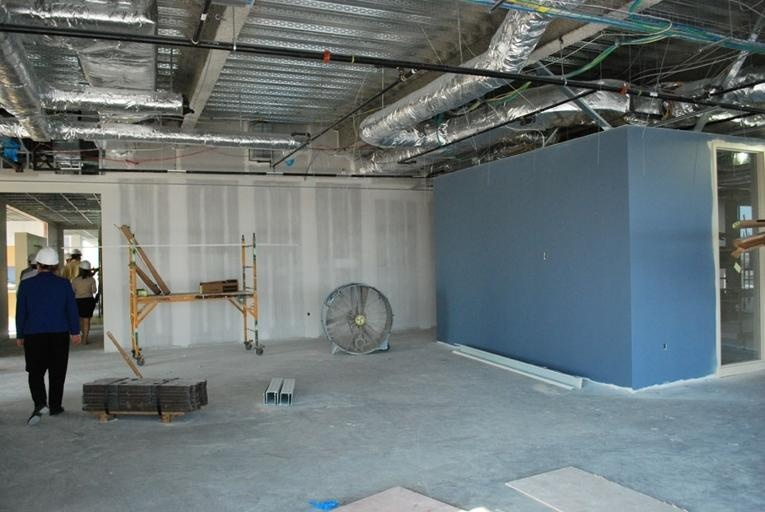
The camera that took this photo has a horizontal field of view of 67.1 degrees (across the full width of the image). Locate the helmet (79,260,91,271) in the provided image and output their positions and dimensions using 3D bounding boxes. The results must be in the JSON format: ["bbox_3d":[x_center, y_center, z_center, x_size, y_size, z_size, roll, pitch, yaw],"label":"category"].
[{"bbox_3d":[-6.220,0.185,12.074,0.189,0.127,0.249,16,-3,-37],"label":"helmet"}]

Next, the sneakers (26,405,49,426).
[{"bbox_3d":[-4.290,1.982,7.251,0.157,0.117,0.328,-8,27,38],"label":"sneakers"}]

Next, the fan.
[{"bbox_3d":[-0.495,1.230,11.761,1.566,1.434,1.444,-2,26,-3],"label":"fan"}]

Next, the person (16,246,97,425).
[{"bbox_3d":[-4.324,0.997,7.362,0.699,2.141,0.756,1,10,15],"label":"person"}]

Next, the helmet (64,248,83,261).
[{"bbox_3d":[-8.527,-0.056,15.873,0.371,0.387,0.434,9,-3,-6],"label":"helmet"}]
